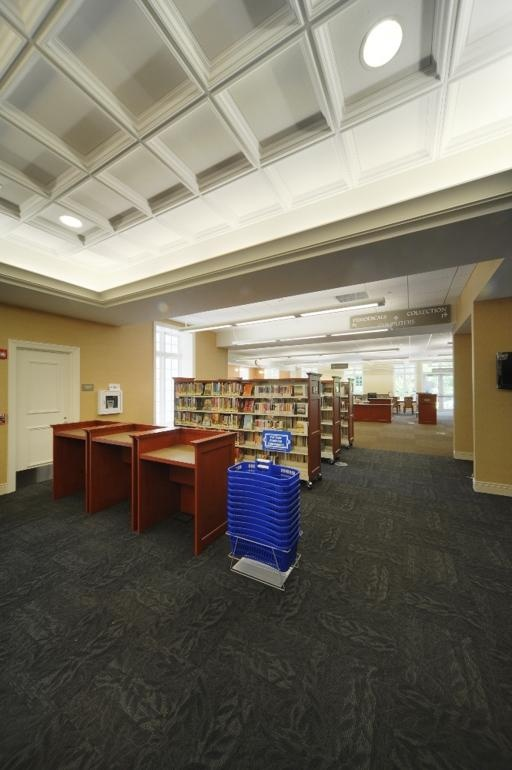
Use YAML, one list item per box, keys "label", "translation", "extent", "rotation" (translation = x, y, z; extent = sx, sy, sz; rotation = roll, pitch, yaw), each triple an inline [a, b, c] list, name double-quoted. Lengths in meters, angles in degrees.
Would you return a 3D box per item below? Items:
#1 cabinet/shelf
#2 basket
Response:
- label: "cabinet/shelf"
  translation: [0.395, 0.386, 6.899]
  extent: [1.639, 1.112, 1.701]
  rotation: [1, 3, 30]
- label: "basket"
  translation: [0.056, 0.976, 3.477]
  extent: [0.640, 0.963, 0.353]
  rotation: [4, 9, 32]
